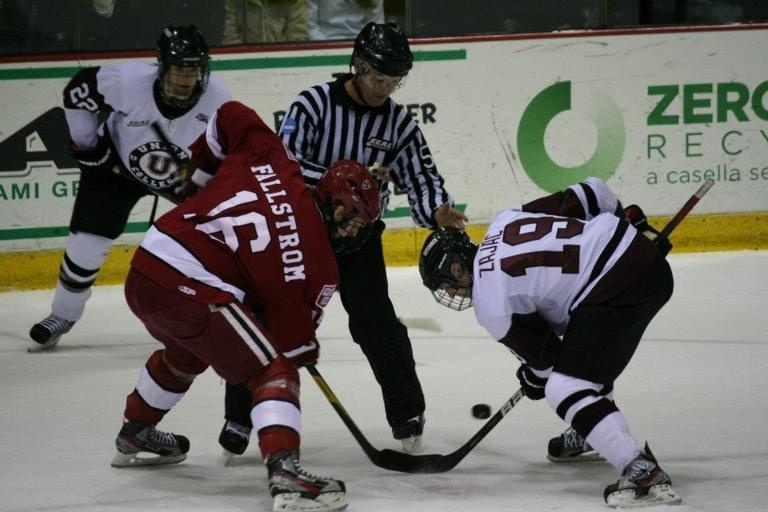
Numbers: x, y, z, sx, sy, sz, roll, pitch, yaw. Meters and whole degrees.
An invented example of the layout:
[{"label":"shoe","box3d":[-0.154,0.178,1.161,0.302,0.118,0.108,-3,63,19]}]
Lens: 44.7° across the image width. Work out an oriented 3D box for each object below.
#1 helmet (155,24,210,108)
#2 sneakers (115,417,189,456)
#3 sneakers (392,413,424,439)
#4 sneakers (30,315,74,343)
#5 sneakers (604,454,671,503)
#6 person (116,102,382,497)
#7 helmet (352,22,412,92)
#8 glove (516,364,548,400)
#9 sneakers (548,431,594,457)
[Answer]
[{"label":"helmet","box3d":[-1.246,-1.178,5.697,0.383,0.465,0.467,-6,51,-22]},{"label":"sneakers","box3d":[-1.159,0.896,4.723,0.460,0.194,0.132,2,29,-25]},{"label":"sneakers","box3d":[0.142,0.910,4.941,0.151,0.071,0.115,-26,0,12]},{"label":"sneakers","box3d":[-2.218,0.495,6.325,0.371,0.111,0.145,-22,9,-38]},{"label":"sneakers","box3d":[1.177,1.029,4.292,0.297,0.123,0.179,-4,3,-9]},{"label":"person","box3d":[-0.648,0.218,4.423,1.207,1.807,0.622,10,15,30]},{"label":"helmet","box3d":[-0.054,-1.107,5.127,0.310,0.329,0.344,-18,40,-31]},{"label":"glove","box3d":[0.723,0.630,4.727,0.162,0.143,0.190,-7,13,-4]},{"label":"sneakers","box3d":[0.928,0.964,4.767,0.285,0.110,0.105,-3,13,-8]}]
